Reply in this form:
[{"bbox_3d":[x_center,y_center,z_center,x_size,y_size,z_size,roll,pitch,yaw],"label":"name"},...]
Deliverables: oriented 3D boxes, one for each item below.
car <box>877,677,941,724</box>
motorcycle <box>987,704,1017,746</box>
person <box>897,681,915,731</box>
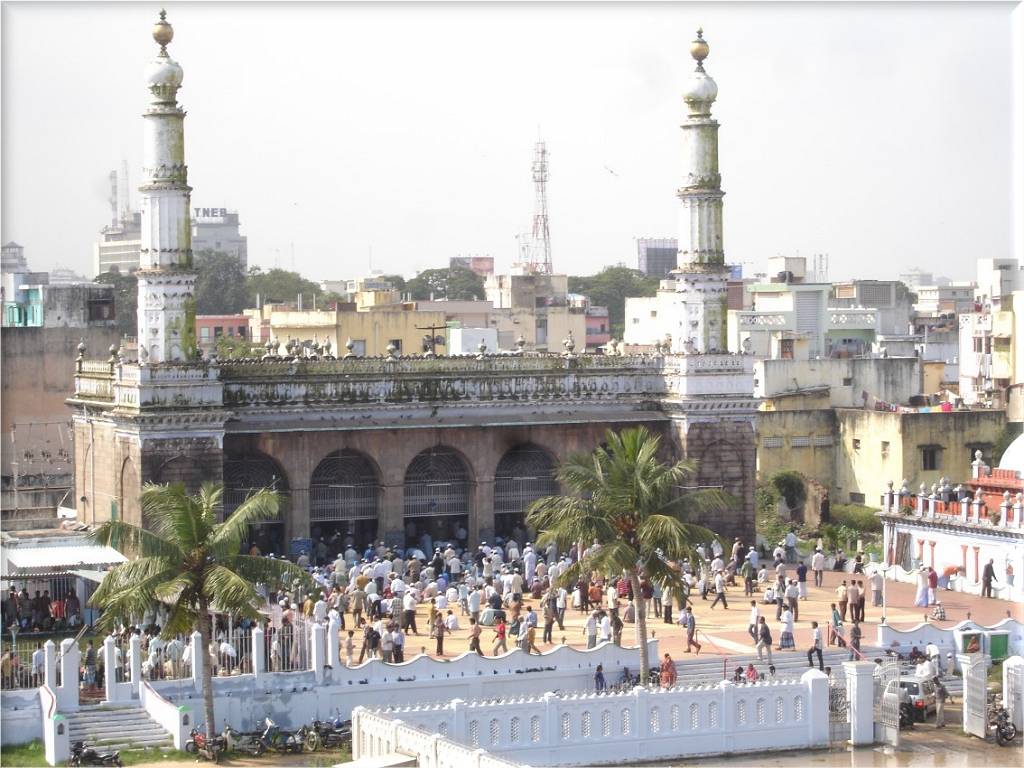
[{"bbox_3d":[10.233,8.028,76.516,0.909,0.714,1.511,-1,9,18],"label":"car"},{"bbox_3d":[12.337,8.507,75.630,0.645,0.967,0.542,1,-6,-34],"label":"motorcycle"},{"bbox_3d":[10.030,8.148,76.362,0.559,0.502,0.970,1,13,7],"label":"person"}]
